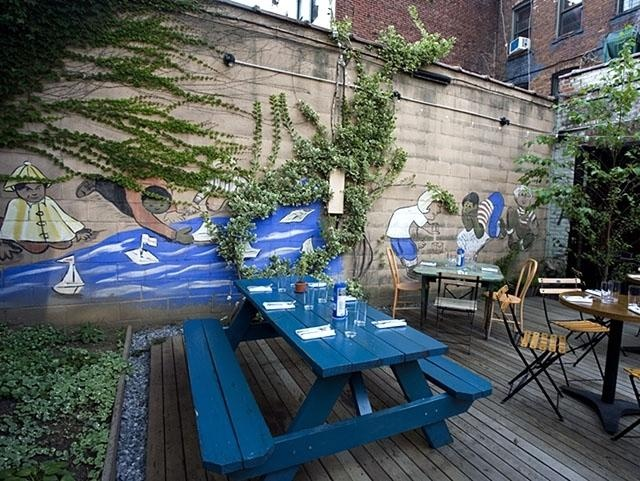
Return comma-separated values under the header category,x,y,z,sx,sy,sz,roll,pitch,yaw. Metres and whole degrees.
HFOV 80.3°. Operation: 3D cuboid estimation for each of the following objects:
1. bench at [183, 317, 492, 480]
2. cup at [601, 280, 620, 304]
category,x,y,z,sx,sy,sz,roll,pitch,yaw
bench,0.000,1.268,3.320,2.140,0.616,1.536,-1,4,-22
cup,2.807,0.504,3.670,0.137,0.202,0.212,4,6,35
